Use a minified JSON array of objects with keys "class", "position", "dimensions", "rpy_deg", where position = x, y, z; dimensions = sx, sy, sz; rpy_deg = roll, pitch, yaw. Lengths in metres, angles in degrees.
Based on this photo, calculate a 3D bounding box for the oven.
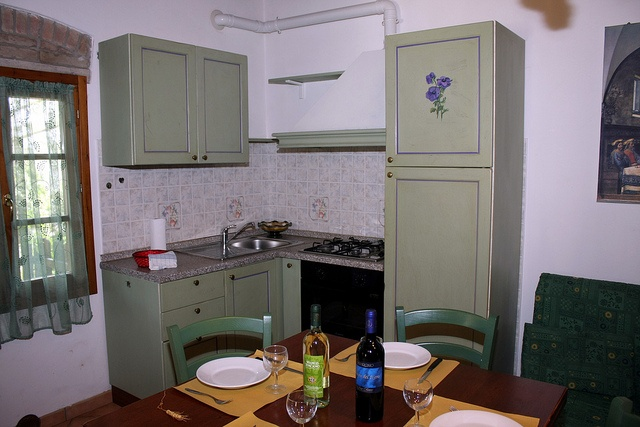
[{"class":"oven","position":[0.245,0.743,3.834],"dimensions":[0.714,0.686,0.369],"rpy_deg":[2,6,27]}]

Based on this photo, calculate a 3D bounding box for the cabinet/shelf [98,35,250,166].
[{"class":"cabinet/shelf","position":[-1.175,-0.896,3.867],"dimensions":[0.480,0.970,1.160],"rpy_deg":[9,12,38]}]

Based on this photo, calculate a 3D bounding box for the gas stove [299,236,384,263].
[{"class":"gas stove","position":[0.275,0.281,3.909],"dimensions":[0.708,0.104,0.568],"rpy_deg":[2,7,25]}]

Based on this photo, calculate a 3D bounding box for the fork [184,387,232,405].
[{"class":"fork","position":[-0.498,0.826,2.054],"dimensions":[0.288,0.044,0.042],"rpy_deg":[4,6,30]}]

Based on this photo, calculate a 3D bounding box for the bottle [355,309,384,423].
[{"class":"bottle","position":[0.227,0.625,1.909],"dimensions":[0.155,0.507,0.134],"rpy_deg":[-3,7,-17]}]

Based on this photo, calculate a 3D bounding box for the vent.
[{"class":"vent","position":[0.176,-0.937,3.922],"dimensions":[1.112,0.742,0.774],"rpy_deg":[-2,10,0]}]

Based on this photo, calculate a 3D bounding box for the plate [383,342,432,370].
[{"class":"plate","position":[0.437,0.717,2.290],"dimensions":[0.182,0.025,0.181],"rpy_deg":[1,10,13]}]

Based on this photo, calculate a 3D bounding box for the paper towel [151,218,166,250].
[{"class":"paper towel","position":[-1.331,0.170,3.760],"dimensions":[0.121,0.250,0.203],"rpy_deg":[-4,7,-20]}]

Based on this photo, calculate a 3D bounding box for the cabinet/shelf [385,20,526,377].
[{"class":"cabinet/shelf","position":[1.047,0.033,3.654],"dimensions":[0.749,2.942,0.682],"rpy_deg":[7,28,30]}]
